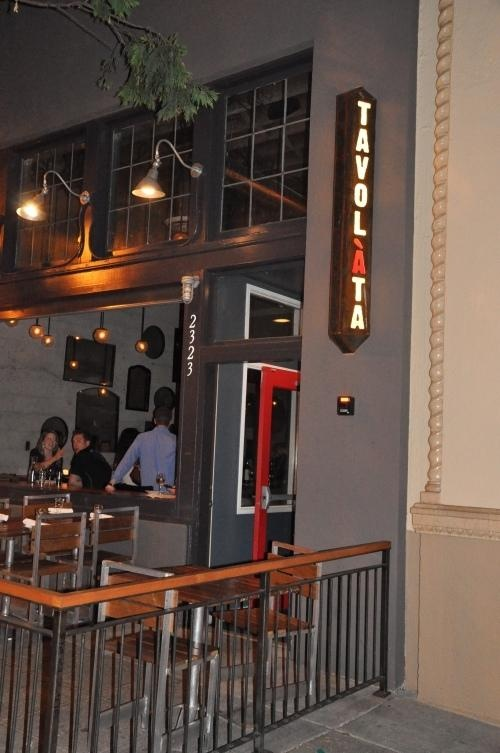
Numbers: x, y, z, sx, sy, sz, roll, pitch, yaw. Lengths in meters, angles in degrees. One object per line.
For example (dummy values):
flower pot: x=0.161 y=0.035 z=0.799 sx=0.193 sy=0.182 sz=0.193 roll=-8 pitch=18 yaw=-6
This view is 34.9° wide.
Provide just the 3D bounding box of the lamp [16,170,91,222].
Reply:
lamp: x=-1.614 y=-1.491 z=6.622 sx=0.549 sy=0.405 sz=0.203 roll=8 pitch=3 yaw=-2

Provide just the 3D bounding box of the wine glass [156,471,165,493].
wine glass: x=-0.747 y=0.894 z=6.696 sx=0.086 sy=0.149 sz=0.337 roll=4 pitch=-5 yaw=-6

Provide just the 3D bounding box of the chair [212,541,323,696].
chair: x=0.065 y=1.363 z=4.454 sx=0.616 sy=0.797 sz=0.600 roll=4 pitch=-4 yaw=12

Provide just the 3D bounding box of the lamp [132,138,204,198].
lamp: x=-0.557 y=-1.419 z=5.424 sx=0.470 sy=0.391 sz=0.194 roll=-2 pitch=11 yaw=-33

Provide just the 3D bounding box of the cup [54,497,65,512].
cup: x=-1.446 y=0.973 z=6.052 sx=0.082 sy=0.140 sz=0.081 roll=3 pitch=-7 yaw=0

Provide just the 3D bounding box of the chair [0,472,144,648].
chair: x=-1.305 y=1.243 z=5.679 sx=1.010 sy=1.039 sz=1.139 roll=5 pitch=-7 yaw=-42
